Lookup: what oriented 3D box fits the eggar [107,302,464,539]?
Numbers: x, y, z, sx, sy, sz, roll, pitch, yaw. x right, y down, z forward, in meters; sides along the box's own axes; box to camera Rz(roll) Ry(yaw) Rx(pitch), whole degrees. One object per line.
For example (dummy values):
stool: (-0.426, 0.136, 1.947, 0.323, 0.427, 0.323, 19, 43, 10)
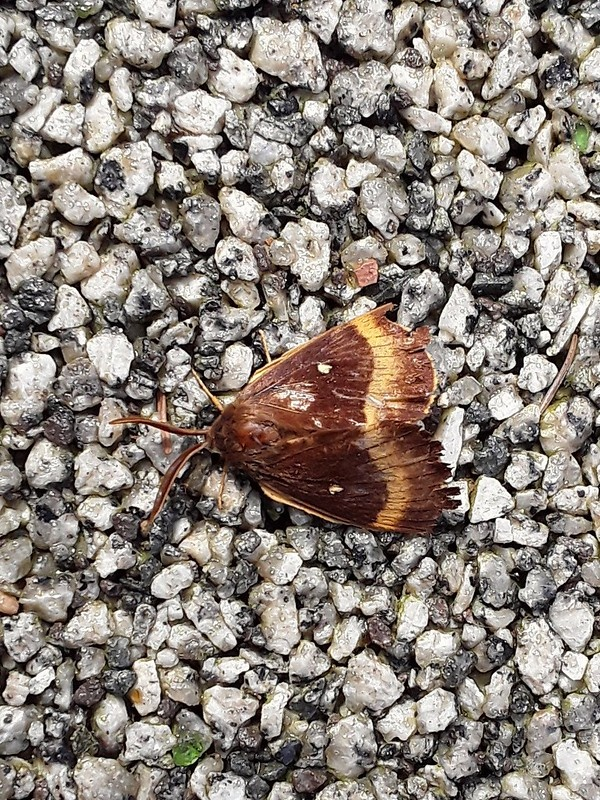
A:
eggar: (-0.002, 0.056, 1.347, 0.407, 0.121, 0.313, -12, 86, -2)
